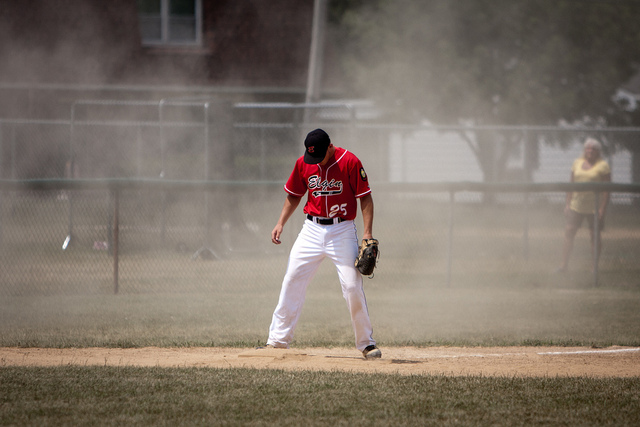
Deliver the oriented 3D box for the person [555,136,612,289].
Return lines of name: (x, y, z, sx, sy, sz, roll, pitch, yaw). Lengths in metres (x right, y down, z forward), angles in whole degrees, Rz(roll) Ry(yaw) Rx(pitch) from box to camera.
person: (4.199, 0.004, 20.541, 0.818, 2.329, 0.997, 2, 4, 10)

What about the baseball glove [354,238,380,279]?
baseball glove: (0.622, 0.589, 17.486, 0.321, 0.562, 0.266, 22, -27, -6)

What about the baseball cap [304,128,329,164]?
baseball cap: (-0.048, -0.895, 17.391, 0.303, 0.460, 0.252, 7, -24, 15)

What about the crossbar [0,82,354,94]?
crossbar: (-2.767, -2.224, 22.731, 5.732, 0.109, 0.134, 1, -8, -6)

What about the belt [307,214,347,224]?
belt: (0.063, 0.106, 17.467, 0.505, 0.104, 0.054, 3, 4, 12)

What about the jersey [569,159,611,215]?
jersey: (4.294, -0.385, 20.462, 0.686, 0.920, 0.340, -12, -45, 39)
